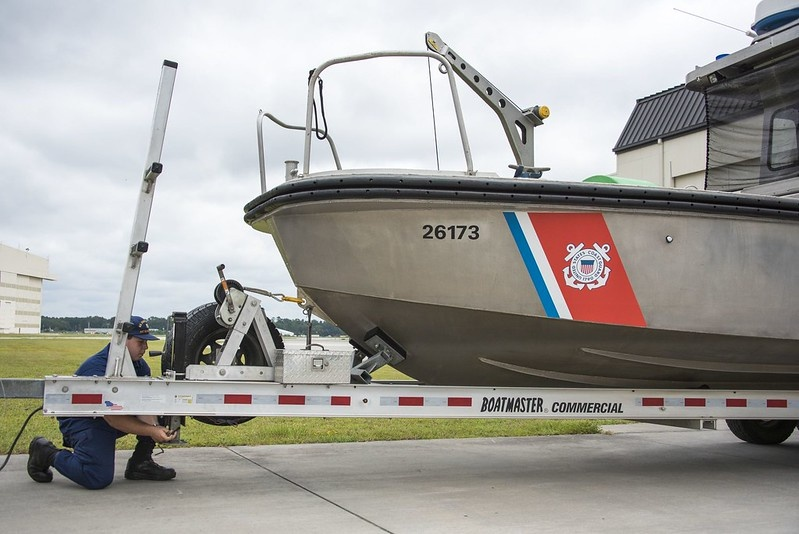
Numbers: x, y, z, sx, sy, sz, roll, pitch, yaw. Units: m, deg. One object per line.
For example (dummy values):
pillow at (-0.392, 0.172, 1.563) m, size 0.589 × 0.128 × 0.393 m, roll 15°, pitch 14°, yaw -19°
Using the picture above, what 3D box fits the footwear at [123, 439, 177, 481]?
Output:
footwear at (-2.163, 1.755, 6.689) m, size 0.608 × 0.448 × 0.246 m, roll 3°, pitch -10°, yaw -13°

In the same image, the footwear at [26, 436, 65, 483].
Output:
footwear at (-3.233, 1.699, 6.701) m, size 0.285 × 0.303 × 0.682 m, roll -30°, pitch -2°, yaw -30°

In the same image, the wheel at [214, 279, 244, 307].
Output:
wheel at (-1.447, 0.235, 6.293) m, size 0.236 × 0.232 × 0.073 m, roll 44°, pitch -23°, yaw -21°

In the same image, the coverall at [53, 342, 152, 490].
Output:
coverall at (-2.483, 1.388, 6.904) m, size 1.122 × 1.144 × 0.895 m, roll 4°, pitch -1°, yaw -16°

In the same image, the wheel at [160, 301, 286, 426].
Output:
wheel at (-1.744, 0.835, 6.985) m, size 1.052 × 0.993 × 0.393 m, roll 0°, pitch -29°, yaw 17°

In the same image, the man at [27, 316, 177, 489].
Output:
man at (-2.518, 1.215, 6.591) m, size 1.405 × 1.387 × 0.924 m, roll 3°, pitch -3°, yaw -13°
